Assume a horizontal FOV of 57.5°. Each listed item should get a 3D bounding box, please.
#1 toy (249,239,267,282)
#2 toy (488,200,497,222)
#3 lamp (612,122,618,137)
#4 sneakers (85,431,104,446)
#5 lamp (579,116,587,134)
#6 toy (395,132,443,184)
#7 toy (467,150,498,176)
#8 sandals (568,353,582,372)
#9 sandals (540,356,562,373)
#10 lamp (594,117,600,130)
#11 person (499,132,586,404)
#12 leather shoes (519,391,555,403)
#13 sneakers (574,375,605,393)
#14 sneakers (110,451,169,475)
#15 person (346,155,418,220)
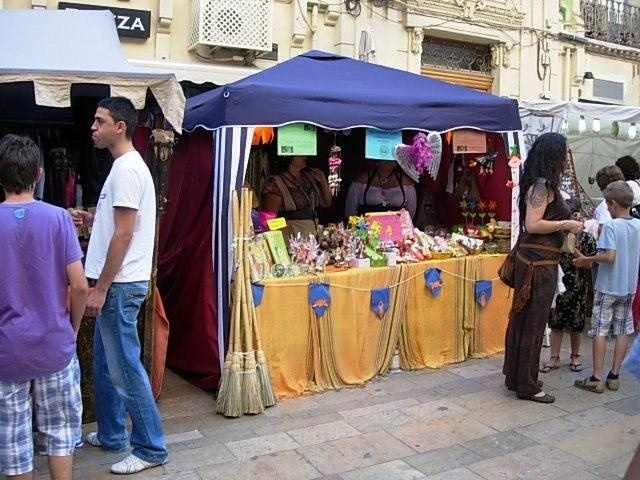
[{"bbox_3d":[-0.515,0.165,4.978,0.153,0.294,0.413,0,14,-5],"label":"toy"},{"bbox_3d":[1.954,-0.338,6.582,0.048,0.203,0.126,-7,15,-32],"label":"toy"},{"bbox_3d":[4.483,-1.693,8.832,0.086,0.206,0.426,7,15,26],"label":"lamp"},{"bbox_3d":[-1.633,1.445,4.196,0.082,0.077,0.161,1,13,-39],"label":"sneakers"},{"bbox_3d":[3.542,-1.570,7.846,0.082,0.211,0.328,6,15,20],"label":"lamp"},{"bbox_3d":[0.990,-0.859,5.913,0.458,0.496,0.139,-14,12,-30],"label":"toy"},{"bbox_3d":[1.839,-0.876,6.577,0.155,0.292,0.369,-8,16,-33],"label":"toy"},{"bbox_3d":[2.578,1.223,5.851,0.094,0.143,0.314,-3,-4,10],"label":"sandals"},{"bbox_3d":[2.287,1.250,5.768,0.099,0.124,0.277,-6,-8,43],"label":"sandals"},{"bbox_3d":[3.770,-1.596,7.928,0.096,0.176,0.092,16,27,32],"label":"lamp"},{"bbox_3d":[1.893,0.245,5.027,0.506,2.288,0.551,-1,12,-8],"label":"person"},{"bbox_3d":[1.898,1.363,5.072,0.273,0.093,0.123,-2,6,14],"label":"leather shoes"},{"bbox_3d":[2.454,1.306,5.327,0.121,0.125,0.262,-1,3,-41],"label":"sneakers"},{"bbox_3d":[-1.245,1.505,3.929,0.309,0.141,0.116,9,0,-27],"label":"sneakers"},{"bbox_3d":[0.684,-0.526,6.543,0.908,0.982,0.533,1,0,-14],"label":"person"}]
